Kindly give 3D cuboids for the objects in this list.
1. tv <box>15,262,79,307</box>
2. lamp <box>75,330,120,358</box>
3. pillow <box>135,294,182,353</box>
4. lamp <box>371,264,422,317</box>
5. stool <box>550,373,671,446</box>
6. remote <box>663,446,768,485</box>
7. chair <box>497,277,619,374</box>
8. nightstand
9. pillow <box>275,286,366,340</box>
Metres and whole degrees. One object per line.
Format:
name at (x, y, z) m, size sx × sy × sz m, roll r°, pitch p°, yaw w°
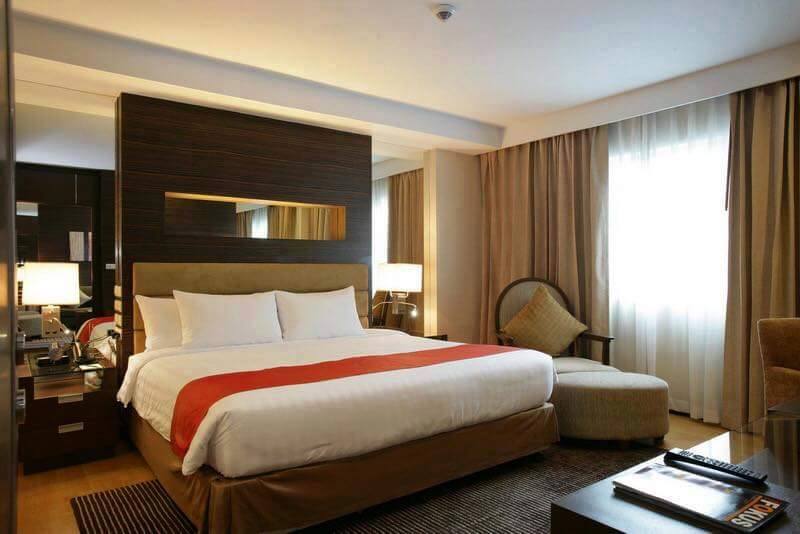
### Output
tv at (-3.050, 0.169, 5.001) m, size 0.431 × 0.450 × 0.416 m, roll 3°, pitch -6°, yaw -39°
lamp at (-2.984, 0.720, 5.628) m, size 0.449 × 0.233 × 0.570 m, roll 1°, pitch -4°, yaw -32°
pillow at (-2.089, 0.499, 4.959) m, size 0.458 × 0.476 × 0.187 m, roll -8°, pitch -18°, yaw -42°
lamp at (-0.010, 0.242, 6.699) m, size 0.540 × 0.618 × 0.600 m, roll 1°, pitch 4°, yaw 2°
stool at (1.755, 1.195, 4.982) m, size 0.672 × 0.365 × 0.656 m, roll 0°, pitch -4°, yaw -3°
remote at (1.713, 1.068, 3.229) m, size 0.578 × 0.093 × 0.172 m, roll 2°, pitch 2°, yaw 41°
chair at (1.675, 0.493, 5.969) m, size 1.027 × 1.353 × 1.005 m, roll -4°, pitch -1°, yaw -15°
nightstand at (-3.026, 1.154, 4.908) m, size 1.153 × 0.690 × 0.711 m, roll 1°, pitch 0°, yaw 42°
pillow at (-0.790, 0.453, 5.467) m, size 0.760 × 0.453 × 0.198 m, roll 2°, pitch -20°, yaw -34°
